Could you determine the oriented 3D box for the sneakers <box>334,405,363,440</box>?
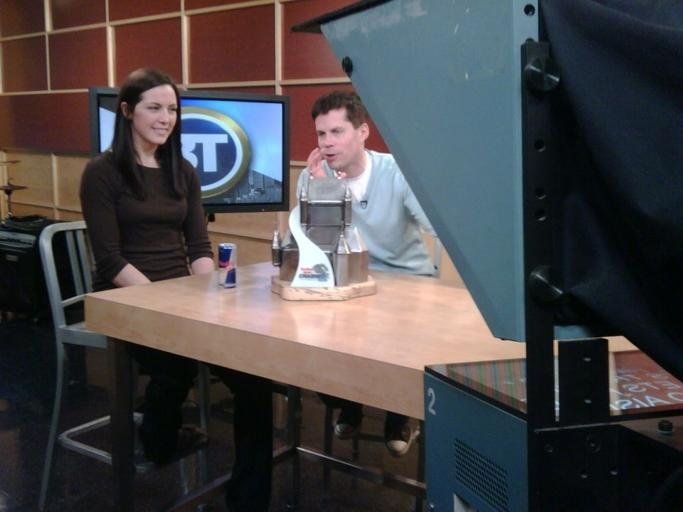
[{"bbox_3d":[0.013,0.548,2.004,0.051,0.066,0.152,0,-3,7],"label":"sneakers"}]

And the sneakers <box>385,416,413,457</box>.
[{"bbox_3d":[0.166,0.533,1.847,0.058,0.083,0.190,-1,-4,5],"label":"sneakers"}]
